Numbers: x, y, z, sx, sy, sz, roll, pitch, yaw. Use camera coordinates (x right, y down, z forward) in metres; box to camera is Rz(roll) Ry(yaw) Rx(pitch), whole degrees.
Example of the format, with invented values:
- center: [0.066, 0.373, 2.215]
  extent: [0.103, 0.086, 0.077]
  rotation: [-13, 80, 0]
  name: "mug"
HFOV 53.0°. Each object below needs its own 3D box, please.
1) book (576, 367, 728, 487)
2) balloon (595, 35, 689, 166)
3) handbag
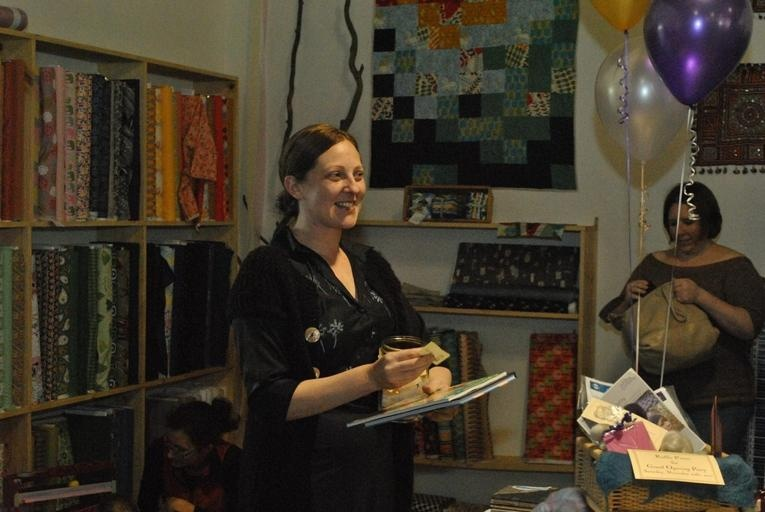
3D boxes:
- center: [0.962, 0.619, 2.684]
  extent: [0.351, 0.359, 0.108]
  rotation: [-34, -18, -14]
  name: "book"
- center: [1.217, -0.769, 3.951]
  extent: [0.554, 0.679, 0.575]
  rotation: [0, -6, 4]
  name: "balloon"
- center: [1.569, 0.411, 4.125]
  extent: [0.410, 0.400, 0.211]
  rotation: [-28, -10, -6]
  name: "handbag"
